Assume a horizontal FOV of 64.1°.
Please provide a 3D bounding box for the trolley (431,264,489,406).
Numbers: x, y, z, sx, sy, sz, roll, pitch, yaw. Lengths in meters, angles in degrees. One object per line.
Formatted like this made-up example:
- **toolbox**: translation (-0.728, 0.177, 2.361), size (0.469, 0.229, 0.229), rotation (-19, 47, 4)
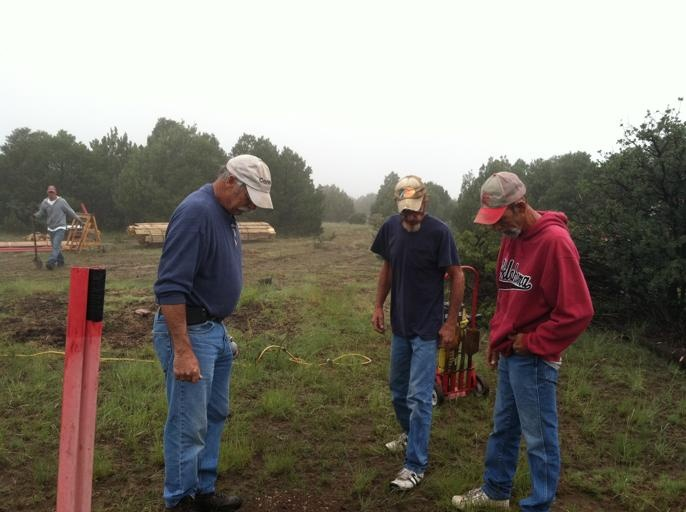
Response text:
- **trolley**: translation (1.454, 1.035, 7.633), size (1.010, 1.845, 1.056), rotation (2, 7, 9)

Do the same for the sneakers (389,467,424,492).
- **sneakers**: translation (0.653, 2.343, 5.670), size (0.376, 0.171, 0.152), rotation (16, -25, -38)

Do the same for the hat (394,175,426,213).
- **hat**: translation (0.691, -0.642, 5.718), size (0.318, 0.424, 0.326), rotation (5, 14, 7)

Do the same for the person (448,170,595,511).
- **person**: translation (1.690, 0.923, 5.213), size (0.662, 3.294, 1.071), rotation (-10, 18, -44)
